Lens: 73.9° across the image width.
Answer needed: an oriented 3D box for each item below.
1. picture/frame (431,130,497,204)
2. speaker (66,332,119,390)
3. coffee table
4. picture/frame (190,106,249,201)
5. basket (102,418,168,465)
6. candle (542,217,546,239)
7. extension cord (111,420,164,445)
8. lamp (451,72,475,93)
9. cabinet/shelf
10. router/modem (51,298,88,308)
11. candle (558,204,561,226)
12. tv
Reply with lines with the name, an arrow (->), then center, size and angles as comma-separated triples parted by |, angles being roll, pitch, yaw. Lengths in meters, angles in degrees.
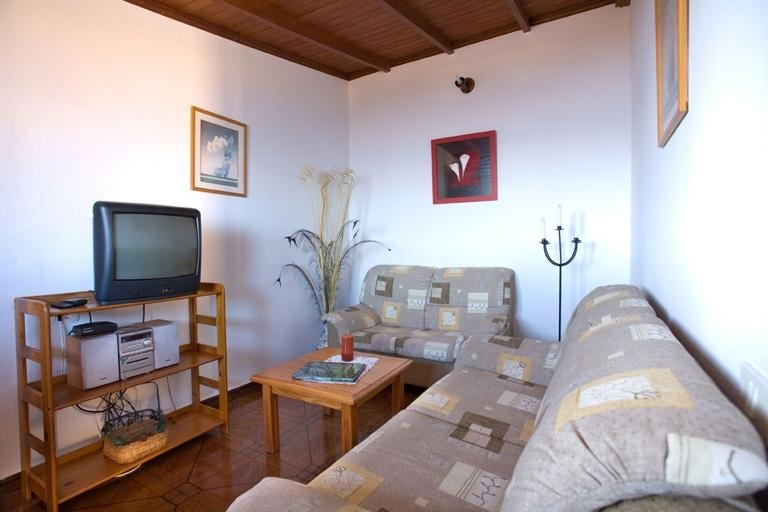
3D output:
picture/frame -> 0.729, -0.792, 4.511 | 0.682, 0.659, 0.067 | -2, -2, 33
speaker -> -1.695, 0.605, 3.053 | 0.210, 0.279, 0.220 | -1, 5, 44
coffee table -> -0.317, 0.961, 3.335 | 0.875, 0.470, 0.894 | 1, 6, 14
picture/frame -> -1.273, -0.797, 3.944 | 0.027, 0.653, 0.515 | 1, 7, 38
basket -> -1.477, 1.100, 3.112 | 0.212, 0.103, 0.283 | 5, 5, 32
candle -> 1.306, -0.236, 4.191 | 0.037, 0.167, 0.040 | -4, 5, -10
extension cord -> -1.537, 1.069, 3.161 | 0.135, 0.056, 0.186 | 0, -1, 39
lamp -> 0.682, -1.508, 4.444 | 0.144, 0.150, 0.156 | 10, 6, 22
cabinet/shelf -> -1.623, 0.871, 3.100 | 0.378, 1.150, 1.201 | 1, 4, 34
router/modem -> -1.789, 0.272, 2.888 | 0.180, 0.036, 0.149 | -5, 5, -18
candle -> 1.419, -0.340, 4.137 | 0.035, 0.158, 0.030 | -2, 6, 13
tv -> -1.543, -0.026, 3.305 | 0.409, 0.628, 0.677 | 3, 4, 43
